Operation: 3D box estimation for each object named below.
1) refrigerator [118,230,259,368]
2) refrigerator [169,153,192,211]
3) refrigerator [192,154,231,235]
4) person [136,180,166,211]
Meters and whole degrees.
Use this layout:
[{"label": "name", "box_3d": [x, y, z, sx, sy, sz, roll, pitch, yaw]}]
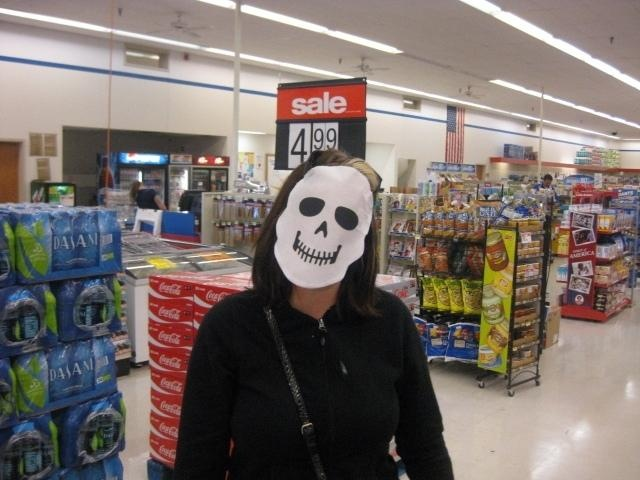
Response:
[{"label": "refrigerator", "box_3d": [-1.732, 0.324, 5.634, 1.407, 0.950, 1.900, 5, 5, 25]}, {"label": "refrigerator", "box_3d": [-3.257, -1.298, 11.837, 0.337, 1.334, 0.420, 6, 1, -14]}, {"label": "refrigerator", "box_3d": [-2.799, -1.403, 12.550, 0.862, 1.911, 0.523, 0, 48, -14]}, {"label": "person", "box_3d": [-2.979, -0.737, 8.594, 0.404, 0.424, 0.766, -3, 9, -27]}]
